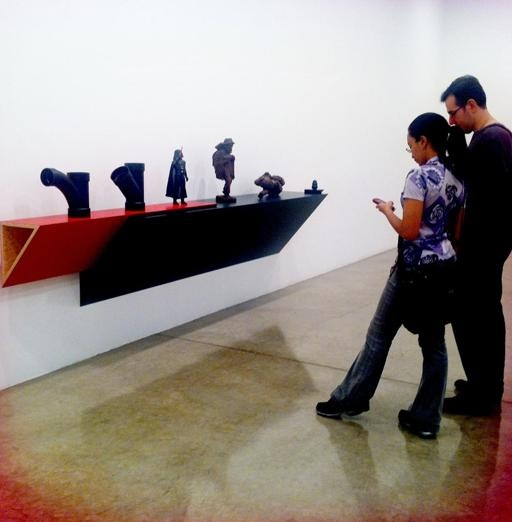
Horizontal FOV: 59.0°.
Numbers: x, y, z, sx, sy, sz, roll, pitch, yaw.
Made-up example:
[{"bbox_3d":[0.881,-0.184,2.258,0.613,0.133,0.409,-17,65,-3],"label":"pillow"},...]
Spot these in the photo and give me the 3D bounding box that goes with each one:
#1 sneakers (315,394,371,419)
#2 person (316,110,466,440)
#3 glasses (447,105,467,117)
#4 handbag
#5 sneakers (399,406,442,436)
[{"bbox_3d":[0.399,0.655,2.123,0.267,0.148,0.104,0,4,12],"label":"sneakers"},{"bbox_3d":[0.593,0.084,1.904,0.489,1.347,0.334,3,7,26],"label":"person"},{"bbox_3d":[0.987,-0.737,2.211,0.050,0.016,0.050,-34,-11,-15],"label":"glasses"},{"bbox_3d":[0.726,0.093,1.926,0.288,0.365,0.231,-10,12,-43],"label":"handbag"},{"bbox_3d":[0.724,0.702,2.005,0.066,0.083,0.180,-8,15,-32],"label":"sneakers"}]
